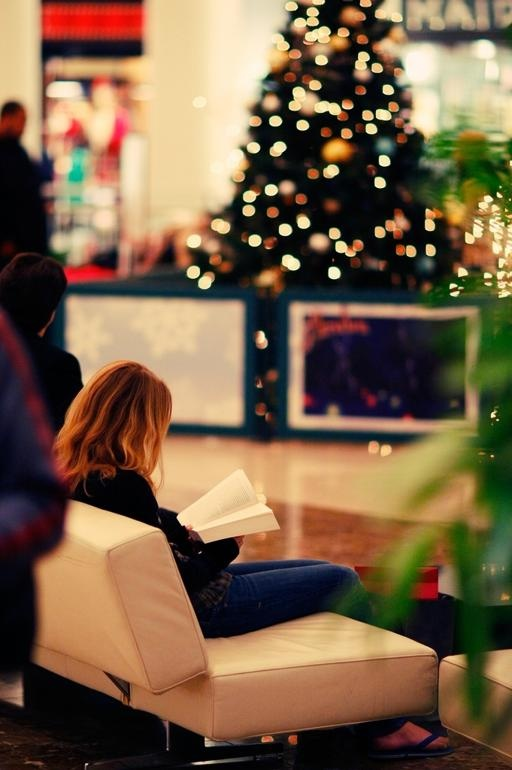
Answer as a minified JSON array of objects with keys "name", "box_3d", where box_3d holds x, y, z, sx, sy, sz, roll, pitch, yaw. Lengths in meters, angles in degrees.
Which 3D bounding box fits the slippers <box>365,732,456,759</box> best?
[{"name":"slippers","box_3d":[0.428,0.984,2.391,0.201,0.042,0.078,-2,0,-7]}]

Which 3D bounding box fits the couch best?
[{"name":"couch","box_3d":[-0.061,0.600,2.642,0.878,0.477,1.172,-1,1,-10]}]
